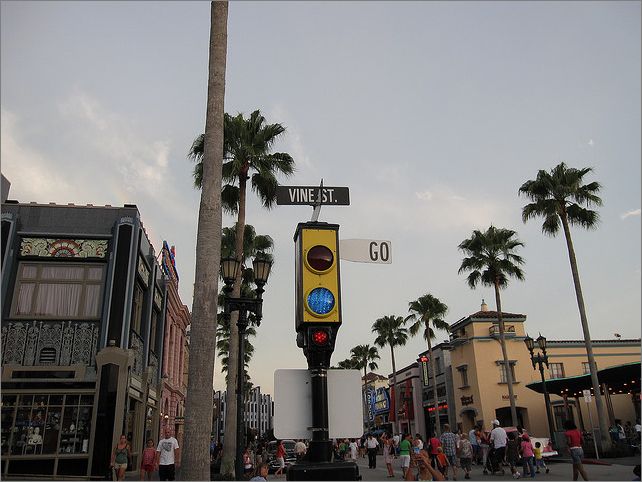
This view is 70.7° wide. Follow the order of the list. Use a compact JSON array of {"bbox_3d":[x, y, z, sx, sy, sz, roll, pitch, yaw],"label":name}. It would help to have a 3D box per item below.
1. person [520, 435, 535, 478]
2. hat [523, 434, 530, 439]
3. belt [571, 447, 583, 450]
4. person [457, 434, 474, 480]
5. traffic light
[{"bbox_3d":[8.205,8.484,17.890,0.523,1.554,1.616,-10,-24,20],"label":"person"},{"bbox_3d":[7.988,7.650,17.543,0.199,0.276,0.111,-7,-11,-1],"label":"hat"},{"bbox_3d":[8.094,6.518,14.207,0.415,0.119,0.214,0,-24,-9],"label":"belt"},{"bbox_3d":[6.286,9.376,19.485,0.530,1.508,1.296,-8,-23,14],"label":"person"},{"bbox_3d":[-0.030,0.614,5.327,0.531,1.684,0.344,-1,-20,-3],"label":"traffic light"}]
